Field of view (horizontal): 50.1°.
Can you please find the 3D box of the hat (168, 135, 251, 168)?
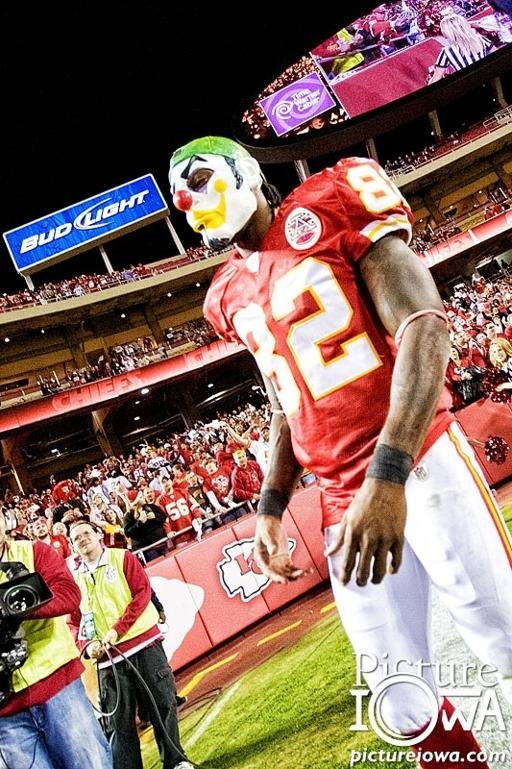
[{"bbox_3d":[-0.141,-0.740,1.730,0.163,0.049,0.154,-6,10,-13],"label":"hat"}]
